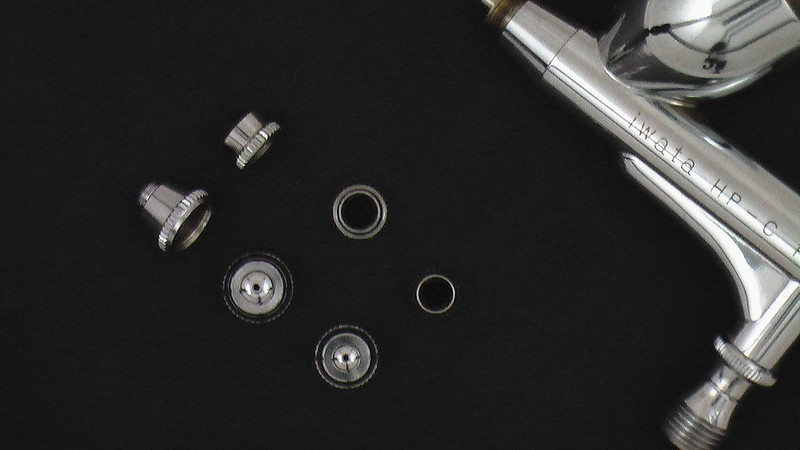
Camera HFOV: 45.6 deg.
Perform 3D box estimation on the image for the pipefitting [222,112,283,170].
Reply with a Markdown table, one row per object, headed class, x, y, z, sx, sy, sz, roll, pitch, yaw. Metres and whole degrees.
| class | x | y | z | sx | sy | sz | roll | pitch | yaw |
| --- | --- | --- | --- | --- | --- | --- | --- | --- | --- |
| pipefitting | -0.296 | -0.173 | 1.900 | 0.070 | 0.059 | 0.116 | 44 | 83 | 9 |
